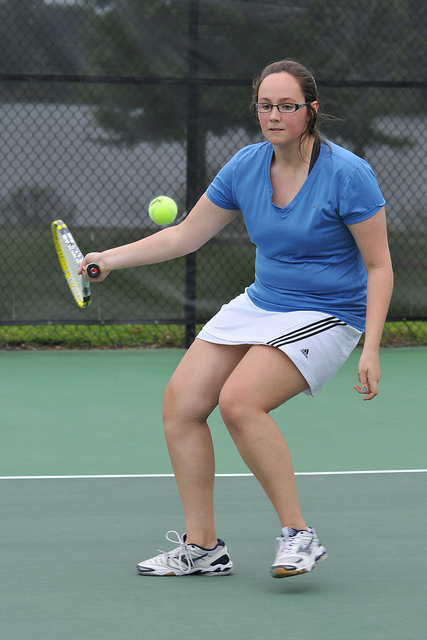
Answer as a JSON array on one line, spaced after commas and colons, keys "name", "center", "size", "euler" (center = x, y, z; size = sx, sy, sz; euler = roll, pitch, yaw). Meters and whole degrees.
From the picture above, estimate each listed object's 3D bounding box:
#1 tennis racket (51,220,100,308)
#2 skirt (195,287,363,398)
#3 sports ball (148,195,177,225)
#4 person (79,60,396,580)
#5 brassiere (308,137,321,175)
[{"name": "tennis racket", "center": [-0.487, -0.217, 2.260], "size": [0.133, 0.339, 0.709], "euler": [0, 1, -14]}, {"name": "skirt", "center": [0.156, 0.056, 1.735], "size": [0.408, 0.135, 0.373], "euler": [-4, 18, 32]}, {"name": "sports ball", "center": [-0.177, -0.417, 2.504], "size": [0.118, 0.102, 0.111], "euler": [6, -7, 1]}, {"name": "person", "center": [0.084, -0.007, 1.748], "size": [0.730, 1.322, 0.405], "euler": [0, 1, 29]}, {"name": "brassiere", "center": [0.252, -0.419, 1.650], "size": [0.017, 0.066, 0.039], "euler": [21, 1, -1]}]
